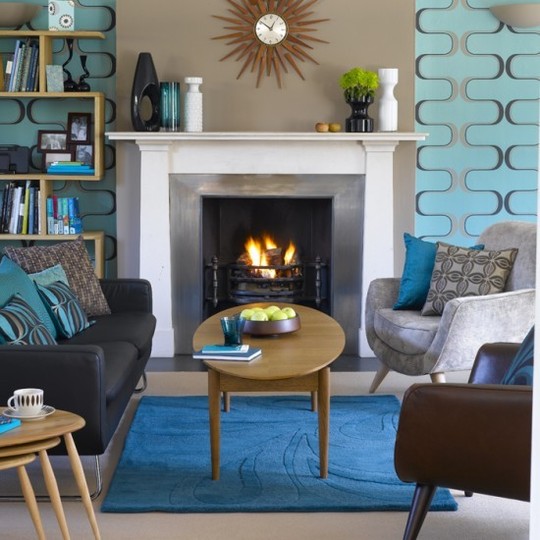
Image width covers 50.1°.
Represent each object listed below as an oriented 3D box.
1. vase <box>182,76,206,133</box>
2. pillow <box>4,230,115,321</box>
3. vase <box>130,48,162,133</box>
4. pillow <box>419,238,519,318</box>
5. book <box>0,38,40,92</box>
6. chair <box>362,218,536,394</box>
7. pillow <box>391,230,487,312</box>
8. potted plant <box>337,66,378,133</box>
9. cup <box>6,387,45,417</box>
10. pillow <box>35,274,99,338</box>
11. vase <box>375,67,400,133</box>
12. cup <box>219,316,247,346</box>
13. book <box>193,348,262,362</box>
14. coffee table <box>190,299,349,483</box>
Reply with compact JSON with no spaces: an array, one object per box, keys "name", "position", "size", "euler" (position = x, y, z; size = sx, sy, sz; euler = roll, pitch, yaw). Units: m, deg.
[{"name":"vase","position":[-0.509,-1.082,3.831],"size":[0.134,0.371,0.280],"euler":[-1,8,-8]},{"name":"pillow","position":[-1.071,0.006,3.012],"size":[0.142,0.443,0.463],"euler":[-27,-15,27]},{"name":"vase","position":[-0.804,-1.146,3.768],"size":[0.225,0.496,0.149],"euler":[-5,10,-34]},{"name":"pillow","position":[1.008,0.006,3.051],"size":[0.508,0.167,0.561],"euler":[-13,-29,20]},{"name":"book","position":[-1.622,-1.342,3.795],"size":[0.207,0.343,0.084],"euler":[-3,9,-21]},{"name":"chair","position":[0.889,0.159,3.024],"size":[0.887,1.004,0.817],"euler":[1,0,-21]},{"name":"pillow","position":[0.986,-0.017,3.214],"size":[0.160,0.647,0.630],"euler":[23,4,28]},{"name":"potted plant","position":[0.577,-1.083,3.736],"size":[0.243,0.393,0.207],"euler":[2,8,10]},{"name":"cup","position":[-0.668,0.353,1.592],"size":[0.095,0.072,0.076],"euler":[1,3,-18]},{"name":"pillow","position":[-0.927,0.182,2.658],"size":[0.066,0.226,0.223],"euler":[-26,48,6]},{"name":"vase","position":[0.772,-1.112,3.798],"size":[0.126,0.417,0.144],"euler":[2,8,14]},{"name":"cup","position":[-0.142,0.233,2.260],"size":[0.104,0.112,0.102],"euler":[2,4,0]},{"name":"book","position":[-0.155,0.312,2.147],"size":[0.249,0.027,0.118],"euler":[0,8,-5]},{"name":"coffee table","position":[0.003,0.505,2.508],"size":[0.600,0.487,0.978],"euler":[1,11,4]}]
